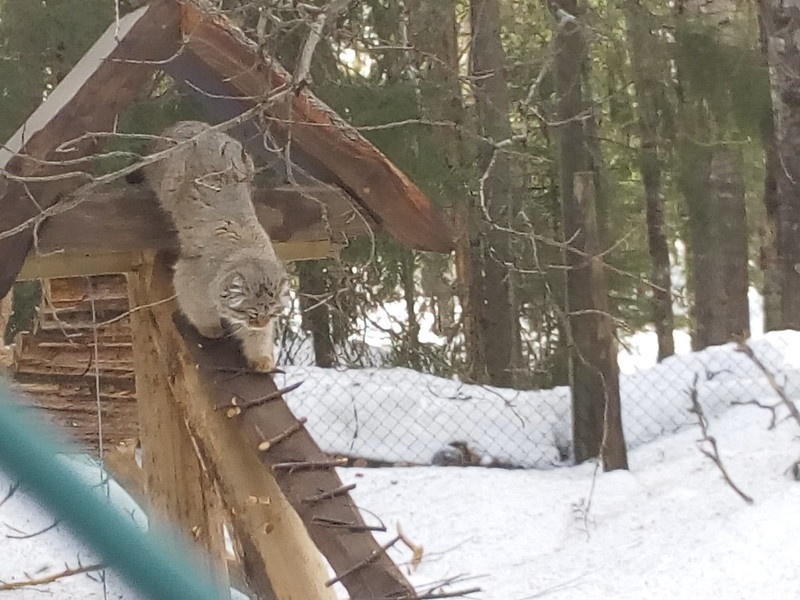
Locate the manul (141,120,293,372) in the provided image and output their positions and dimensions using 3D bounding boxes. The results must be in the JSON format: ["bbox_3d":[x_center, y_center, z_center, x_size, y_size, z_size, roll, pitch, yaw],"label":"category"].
[{"bbox_3d":[-1.526,-0.522,13.346,0.884,2.259,0.854,-16,2,-25],"label":"manul"}]
